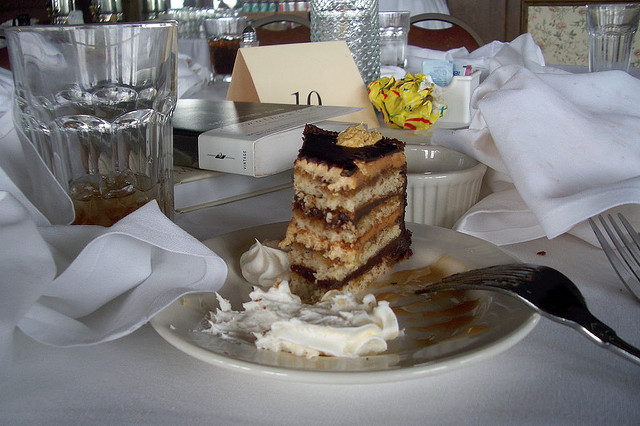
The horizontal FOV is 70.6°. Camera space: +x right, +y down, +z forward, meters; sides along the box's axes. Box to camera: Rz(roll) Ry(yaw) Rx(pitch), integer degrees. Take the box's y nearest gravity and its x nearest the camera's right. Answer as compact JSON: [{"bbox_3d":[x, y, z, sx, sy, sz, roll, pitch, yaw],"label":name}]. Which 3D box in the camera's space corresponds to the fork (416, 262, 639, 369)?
[{"bbox_3d":[0.167,0.066,0.520,0.056,0.046,0.323,-28,32,-33],"label":"fork"}]

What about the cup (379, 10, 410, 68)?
[{"bbox_3d":[0.271,-0.645,1.672,0.100,0.196,0.177,4,21,10],"label":"cup"}]

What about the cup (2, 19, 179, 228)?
[{"bbox_3d":[-0.239,-0.093,0.502,0.177,0.225,0.086,-6,21,-15],"label":"cup"}]

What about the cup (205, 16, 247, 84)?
[{"bbox_3d":[-0.499,-0.783,2.204,0.204,0.312,0.208,2,28,-1],"label":"cup"}]

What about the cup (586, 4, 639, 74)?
[{"bbox_3d":[0.821,-0.502,1.298,0.133,0.175,0.060,16,26,36],"label":"cup"}]

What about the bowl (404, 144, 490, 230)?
[{"bbox_3d":[0.184,-0.038,0.724,0.149,0.101,0.145,-2,15,0],"label":"bowl"}]

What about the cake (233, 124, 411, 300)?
[{"bbox_3d":[0.024,-0.006,0.609,0.224,0.167,0.158,-4,21,-29],"label":"cake"}]
